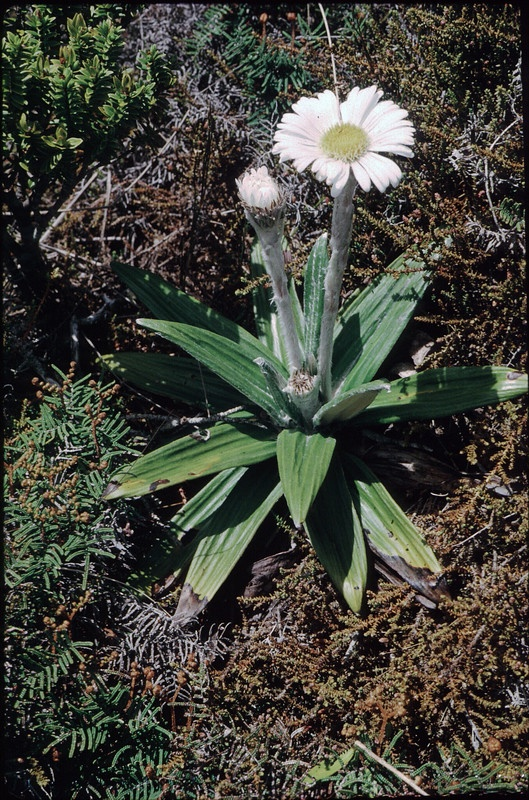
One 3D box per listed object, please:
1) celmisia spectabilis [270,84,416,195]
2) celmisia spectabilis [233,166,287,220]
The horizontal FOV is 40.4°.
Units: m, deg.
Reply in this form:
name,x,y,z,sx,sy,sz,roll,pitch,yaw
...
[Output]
name,x,y,z,sx,sy,sz,roll,pitch,yaw
celmisia spectabilis,0.181,-0.646,1.666,0.306,0.094,0.290,-5,2,-44
celmisia spectabilis,-0.006,-0.484,1.734,0.130,0.122,0.067,-7,-7,8
